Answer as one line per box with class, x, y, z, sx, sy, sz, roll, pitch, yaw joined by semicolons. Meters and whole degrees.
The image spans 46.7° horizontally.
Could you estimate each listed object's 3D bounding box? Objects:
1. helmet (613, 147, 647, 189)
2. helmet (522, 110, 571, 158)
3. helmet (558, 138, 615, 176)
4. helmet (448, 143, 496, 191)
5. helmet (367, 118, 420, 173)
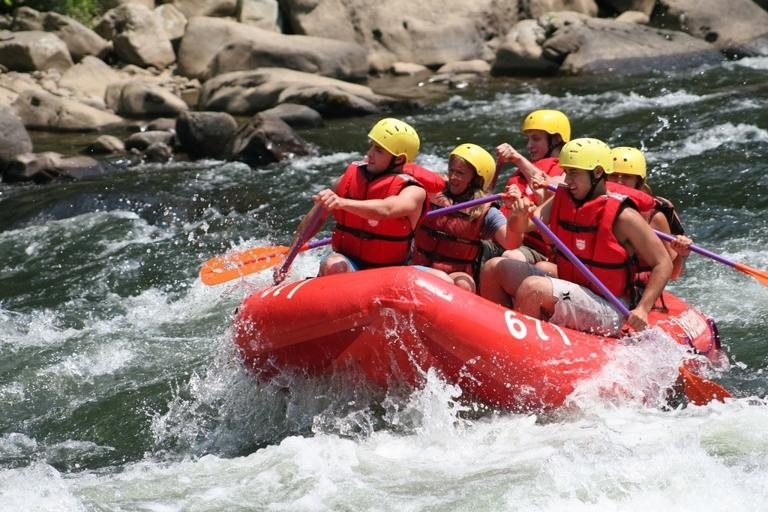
helmet;2.522;-0.901;9.668;0.450;0.439;0.565;4;-6;7
helmet;1.841;-1.385;10.255;0.624;0.591;0.466;-3;9;-23
helmet;1.992;-1.034;8.890;0.590;0.310;0.425;-2;20;-32
helmet;0.897;-0.970;9.300;0.492;0.359;0.373;23;7;-40
helmet;0.061;-1.177;9.121;0.590;0.428;0.436;2;21;-34
